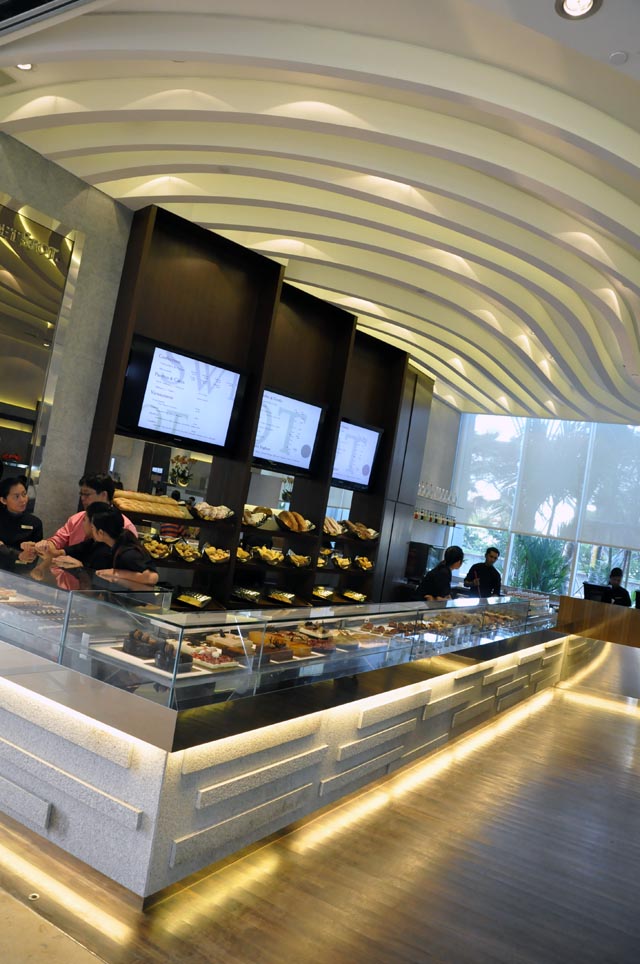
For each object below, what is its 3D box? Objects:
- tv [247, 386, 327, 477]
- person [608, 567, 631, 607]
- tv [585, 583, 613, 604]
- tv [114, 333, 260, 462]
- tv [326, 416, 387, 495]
[{"bbox_3d":[-0.307,-0.523,6.394,0.107,0.711,1.017,6,10,-46],"label":"tv"},{"bbox_3d":[3.978,1.389,8.674,0.273,0.482,0.848,12,-5,25],"label":"person"},{"bbox_3d":[3.749,1.506,8.876,0.345,0.246,0.341,5,-6,38],"label":"tv"},{"bbox_3d":[-1.099,-0.700,5.343,0.117,0.761,1.120,14,1,37],"label":"tv"},{"bbox_3d":[0.349,-0.332,7.647,0.123,0.853,1.212,11,1,28],"label":"tv"}]
